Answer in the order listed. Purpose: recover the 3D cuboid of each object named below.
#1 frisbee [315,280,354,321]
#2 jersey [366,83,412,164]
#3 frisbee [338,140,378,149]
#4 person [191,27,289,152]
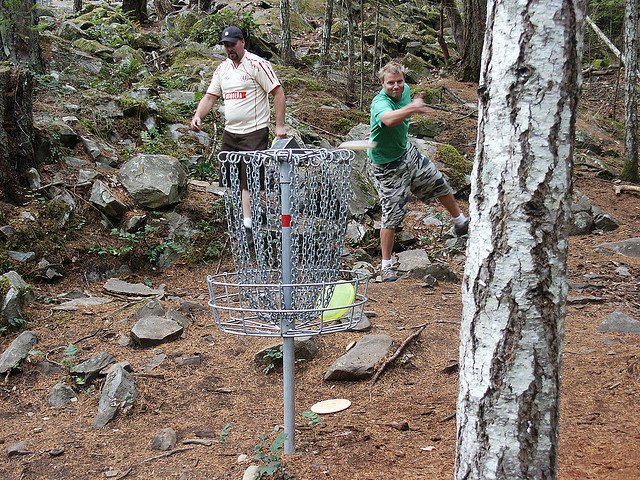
[{"bbox_3d":[0.207,0.633,11.589,0.389,0.496,0.595,5,20,21],"label":"frisbee"},{"bbox_3d":[0.877,-1.412,13.402,0.550,1.033,0.695,-2,19,3],"label":"jersey"},{"bbox_3d":[0.433,-1.042,11.605,0.624,0.116,0.517,0,5,2],"label":"frisbee"},{"bbox_3d":[-1.070,-1.977,13.991,1.209,1.626,0.595,-2,20,3],"label":"person"}]
